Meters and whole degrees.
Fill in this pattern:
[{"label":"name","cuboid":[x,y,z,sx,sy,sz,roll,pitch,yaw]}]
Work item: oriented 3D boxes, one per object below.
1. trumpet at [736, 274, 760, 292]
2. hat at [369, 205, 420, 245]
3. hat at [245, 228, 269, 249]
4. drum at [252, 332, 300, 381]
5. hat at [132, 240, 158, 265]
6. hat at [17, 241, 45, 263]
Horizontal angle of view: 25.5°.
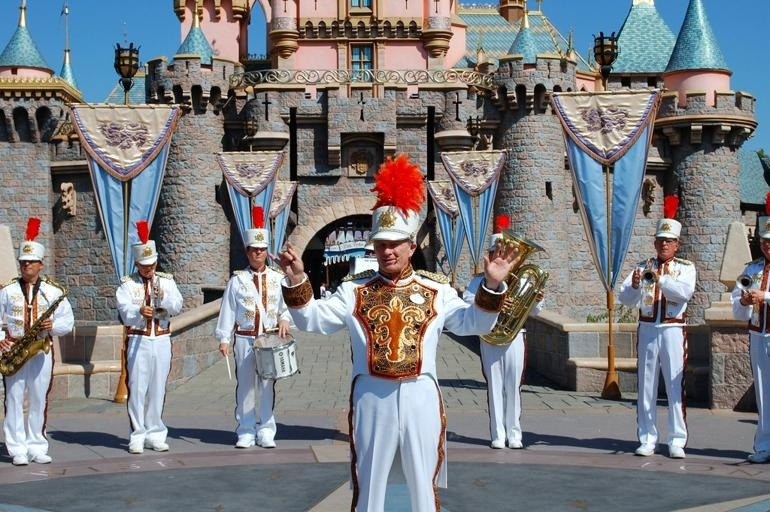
[{"label":"trumpet","cuboid":[7.337,0.561,34.364,0.339,0.345,0.175,10,9,25]},{"label":"hat","cuboid":[0.142,-0.566,31.991,1.046,0.640,1.231,8,1,14]},{"label":"hat","cuboid":[-2.611,-0.360,34.874,0.453,0.464,0.580,-1,7,-6]},{"label":"drum","cuboid":[-2.267,2.029,34.337,1.086,0.707,1.013,-9,9,1]},{"label":"hat","cuboid":[-4.943,-0.049,35.025,0.453,0.304,0.564,-5,13,-21]},{"label":"hat","cuboid":[-7.186,-0.094,34.581,0.498,0.436,0.376,-4,8,-28]}]
